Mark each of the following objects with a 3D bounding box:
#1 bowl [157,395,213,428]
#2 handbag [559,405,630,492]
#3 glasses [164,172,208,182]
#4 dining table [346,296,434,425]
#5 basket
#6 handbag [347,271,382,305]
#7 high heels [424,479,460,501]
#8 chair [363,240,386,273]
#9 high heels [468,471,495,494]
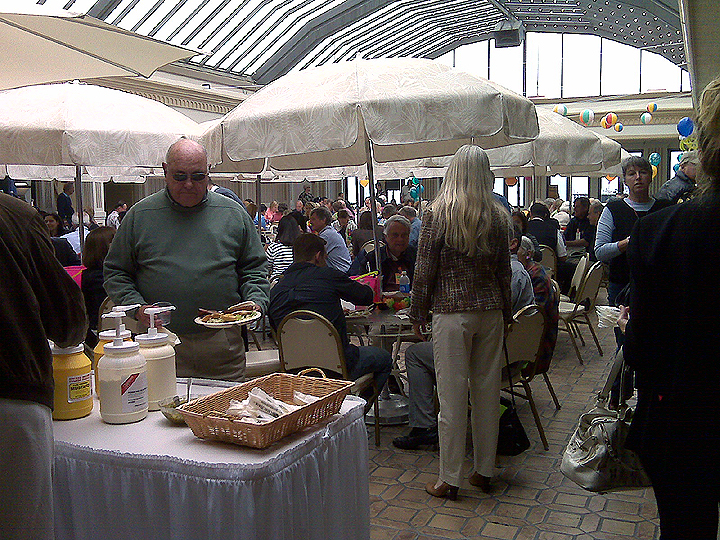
[{"bbox_3d":[-0.678,0.521,2.091,0.105,0.049,0.112,0,11,0],"label":"bowl"},{"bbox_3d":[0.951,0.726,2.272,0.250,0.313,0.155,3,7,29],"label":"handbag"},{"bbox_3d":[-0.909,-0.488,2.969,0.201,0.051,0.088,-3,7,-18],"label":"glasses"},{"bbox_3d":[0.274,0.850,4.873,0.842,0.688,0.867,-3,4,-31],"label":"dining table"},{"bbox_3d":[-0.331,0.511,2.070,0.257,0.131,0.408,6,11,26],"label":"basket"},{"bbox_3d":[0.053,0.157,4.933,0.255,0.224,0.237,0,3,22],"label":"handbag"},{"bbox_3d":[0.546,1.440,3.698,0.217,0.134,0.145,1,6,10],"label":"high heels"},{"bbox_3d":[0.200,-0.132,5.884,0.268,0.370,0.374,0,-4,-9],"label":"chair"},{"bbox_3d":[0.817,1.443,3.831,0.093,0.121,0.175,4,17,-38],"label":"high heels"}]
